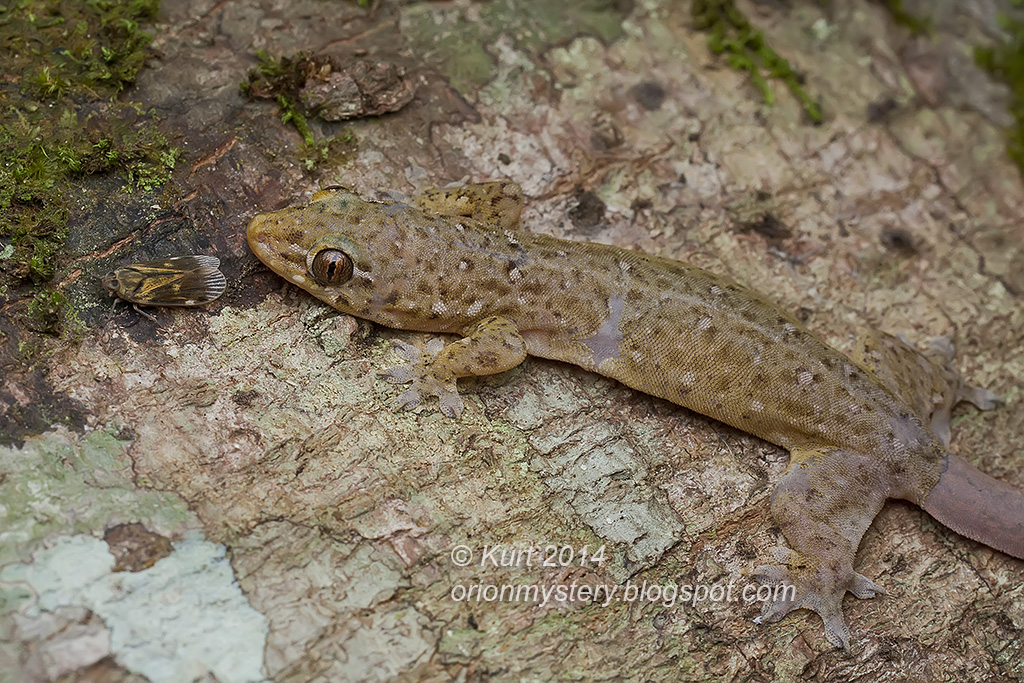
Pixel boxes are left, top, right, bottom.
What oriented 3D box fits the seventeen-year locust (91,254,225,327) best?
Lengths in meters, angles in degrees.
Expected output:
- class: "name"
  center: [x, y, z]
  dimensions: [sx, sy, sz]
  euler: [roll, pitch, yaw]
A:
- class: "seventeen-year locust"
  center: [-2.338, -0.394, 7.038]
  dimensions: [0.645, 0.213, 0.443]
  euler: [-4, 74, -15]
